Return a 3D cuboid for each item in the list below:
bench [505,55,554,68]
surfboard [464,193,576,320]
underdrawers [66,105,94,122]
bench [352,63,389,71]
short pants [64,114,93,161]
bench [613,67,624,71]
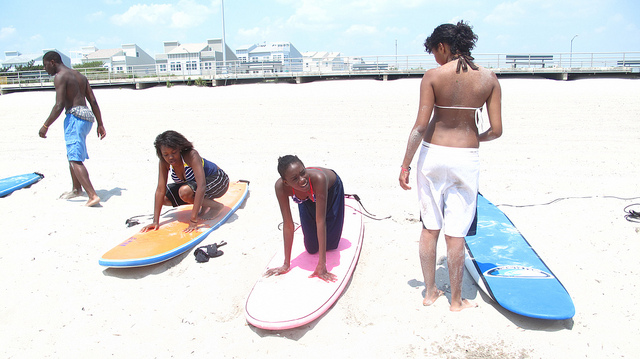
[{"bbox_3d":[10.802,-6.090,26.584,2.171,0.774,2.520,6,21,28],"label":"bench"},{"bbox_3d":[3.339,1.357,9.407,1.201,0.520,3.886,-8,21,6],"label":"surfboard"},{"bbox_3d":[-4.870,-1.358,10.658,0.378,0.195,0.310,14,16,18],"label":"underdrawers"},{"bbox_3d":[2.654,-5.794,26.674,0.687,0.419,2.315,-17,22,-32],"label":"bench"},{"bbox_3d":[-4.956,-0.867,10.657,0.571,0.949,0.317,-14,21,-24],"label":"short pants"},{"bbox_3d":[14.172,-5.251,24.645,0.432,0.118,0.763,5,21,27],"label":"bench"}]
